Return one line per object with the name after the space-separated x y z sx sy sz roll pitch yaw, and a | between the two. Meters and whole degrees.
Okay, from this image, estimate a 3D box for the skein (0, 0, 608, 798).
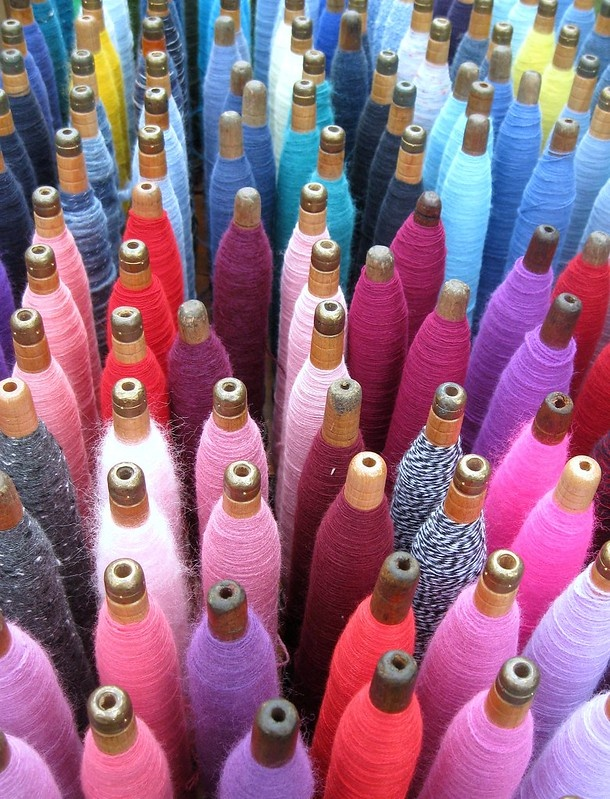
0.112 0.054 1.019 0.731 0.151 0.603 1 73 5 | skein
